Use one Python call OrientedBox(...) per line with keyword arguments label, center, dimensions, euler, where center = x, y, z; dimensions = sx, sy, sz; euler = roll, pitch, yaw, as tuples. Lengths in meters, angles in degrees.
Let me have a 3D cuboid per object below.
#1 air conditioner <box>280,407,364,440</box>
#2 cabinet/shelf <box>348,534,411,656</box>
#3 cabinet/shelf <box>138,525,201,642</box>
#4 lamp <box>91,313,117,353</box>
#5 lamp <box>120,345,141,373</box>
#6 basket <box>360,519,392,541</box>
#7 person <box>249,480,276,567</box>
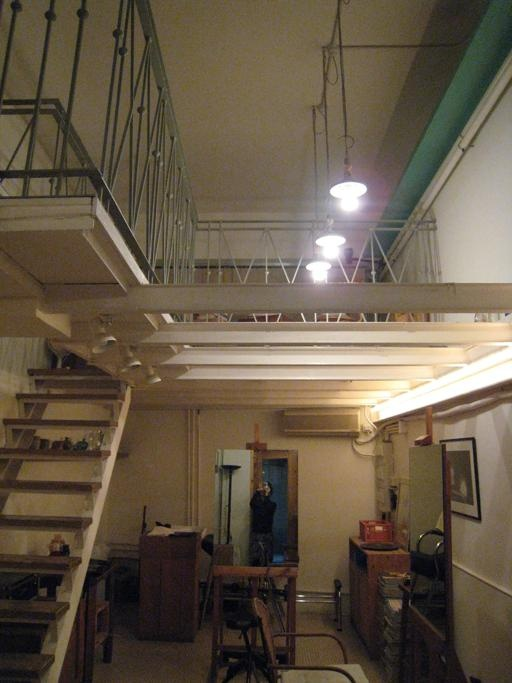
OrientedBox(label="air conditioner", center=(0.962, 1.194, 8.307), dimensions=(1.175, 0.429, 0.416), euler=(2, -12, 3))
OrientedBox(label="cabinet/shelf", center=(1.325, 3.083, 6.739), dimensions=(0.261, 0.782, 0.841), euler=(-3, -2, -8))
OrientedBox(label="cabinet/shelf", center=(-1.069, 2.983, 7.023), dimensions=(0.775, 1.289, 0.784), euler=(4, -11, -16))
OrientedBox(label="lamp", center=(-0.826, -0.050, 3.096), dimensions=(0.133, 0.176, 0.097), euler=(-13, -25, 2))
OrientedBox(label="lamp", center=(-0.817, 0.111, 3.723), dimensions=(0.120, 0.166, 0.093), euler=(-19, -27, 3))
OrientedBox(label="basket", center=(1.475, 2.360, 7.131), dimensions=(0.263, 0.185, 0.279), euler=(2, -5, -11))
OrientedBox(label="person", center=(0.063, 1.852, 5.782), dimensions=(0.248, 0.781, 0.276), euler=(2, -12, 0))
